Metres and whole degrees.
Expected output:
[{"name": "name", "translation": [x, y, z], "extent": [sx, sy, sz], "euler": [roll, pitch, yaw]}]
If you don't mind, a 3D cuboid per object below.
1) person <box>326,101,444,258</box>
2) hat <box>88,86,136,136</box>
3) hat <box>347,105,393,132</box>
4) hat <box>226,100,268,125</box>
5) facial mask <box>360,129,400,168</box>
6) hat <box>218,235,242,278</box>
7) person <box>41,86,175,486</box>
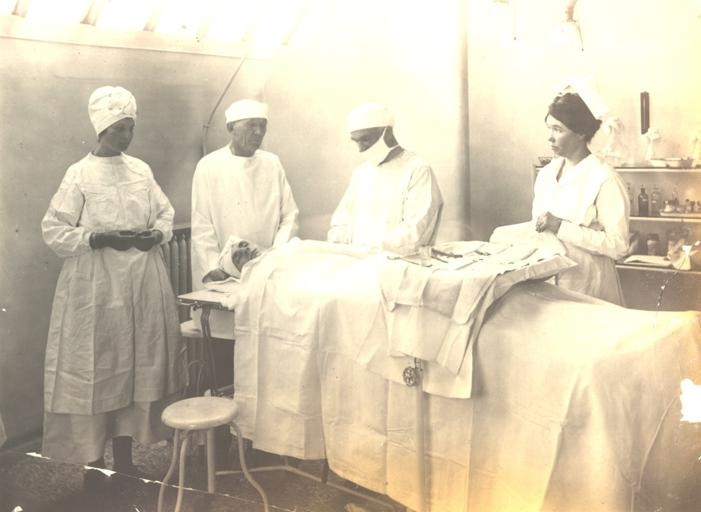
[{"name": "person", "translation": [0.178, -0.393, 3.707], "extent": [0.595, 0.743, 0.363], "euler": [6, 8, 10]}, {"name": "hat", "translation": [-1.220, -0.750, 3.793], "extent": [0.196, 0.247, 0.255], "euler": [1, 30, -12]}, {"name": "hat", "translation": [0.097, -0.689, 3.655], "extent": [0.151, 0.103, 0.162], "euler": [-9, 18, 2]}, {"name": "hat", "translation": [-0.562, -0.782, 3.952], "extent": [0.172, 0.097, 0.131], "euler": [-10, 13, 10]}, {"name": "facial mask", "translation": [0.147, -0.561, 3.727], "extent": [0.156, 0.119, 0.211], "euler": [0, 47, 16]}, {"name": "hat", "translation": [-0.649, 0.024, 3.923], "extent": [0.109, 0.210, 0.154], "euler": [1, 4, -26]}, {"name": "person", "translation": [-1.244, 0.167, 3.860], "extent": [0.720, 2.100, 0.368], "euler": [1, 9, -25]}]
